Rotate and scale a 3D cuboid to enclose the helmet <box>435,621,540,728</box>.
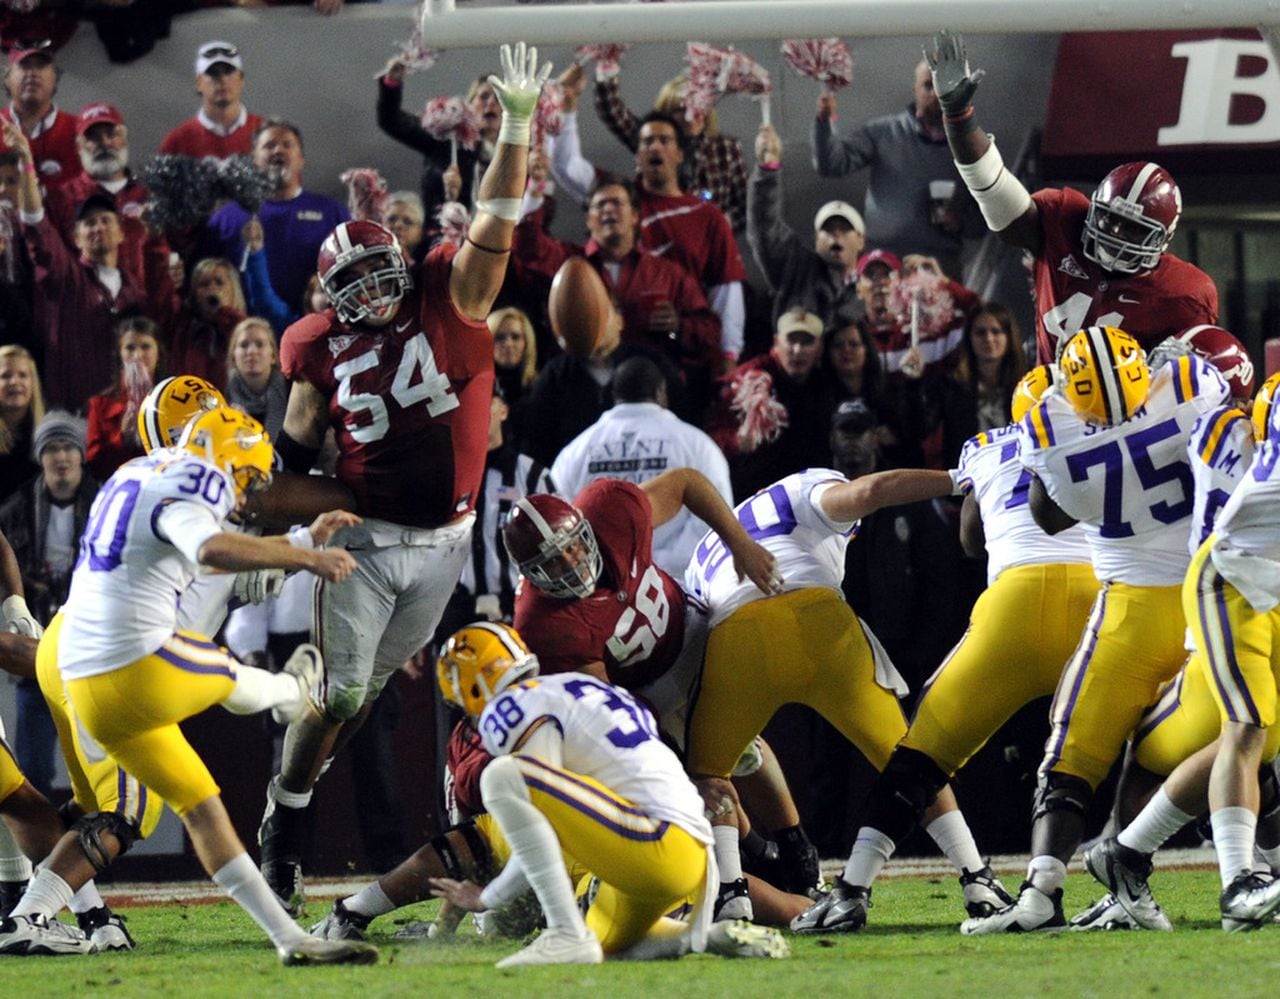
[{"bbox_3d":[-0.452,0.507,6.431,0.295,0.266,0.235,-27,-4,14],"label":"helmet"}]

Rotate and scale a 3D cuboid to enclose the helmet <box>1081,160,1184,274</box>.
[{"bbox_3d":[1.672,-0.952,7.213,0.274,0.313,0.384,28,58,19],"label":"helmet"}]

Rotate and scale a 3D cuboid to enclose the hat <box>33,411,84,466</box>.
[{"bbox_3d":[-2.295,-0.241,8.287,0.149,0.193,0.209,-1,-13,-11],"label":"hat"}]

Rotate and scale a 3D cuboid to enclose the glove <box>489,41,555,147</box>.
[{"bbox_3d":[-0.399,-1.381,7.126,0.197,0.417,0.587,-3,2,-2],"label":"glove"}]

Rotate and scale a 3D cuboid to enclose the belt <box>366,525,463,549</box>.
[{"bbox_3d":[-0.756,0.120,7.076,0.345,0.100,0.087,-5,3,-29],"label":"belt"}]

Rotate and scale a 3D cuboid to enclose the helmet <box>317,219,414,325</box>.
[{"bbox_3d":[-0.893,-0.724,6.856,0.239,0.323,0.351,-21,16,9],"label":"helmet"}]

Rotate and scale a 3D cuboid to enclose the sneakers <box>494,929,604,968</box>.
[{"bbox_3d":[-0.252,1.307,6.019,0.317,0.144,0.117,2,-12,-2],"label":"sneakers"}]

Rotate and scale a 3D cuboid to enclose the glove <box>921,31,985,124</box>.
[{"bbox_3d":[1.095,-1.481,7.322,0.174,0.328,0.275,-3,3,8],"label":"glove"}]

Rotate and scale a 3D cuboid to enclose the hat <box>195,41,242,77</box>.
[{"bbox_3d":[-1.665,-1.748,8.289,0.163,0.137,0.282,-2,-6,-12],"label":"hat"}]

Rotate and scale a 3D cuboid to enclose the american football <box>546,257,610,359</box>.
[{"bbox_3d":[-0.232,-0.799,8.380,0.295,0.300,0.469,7,-22,4],"label":"american football"}]
